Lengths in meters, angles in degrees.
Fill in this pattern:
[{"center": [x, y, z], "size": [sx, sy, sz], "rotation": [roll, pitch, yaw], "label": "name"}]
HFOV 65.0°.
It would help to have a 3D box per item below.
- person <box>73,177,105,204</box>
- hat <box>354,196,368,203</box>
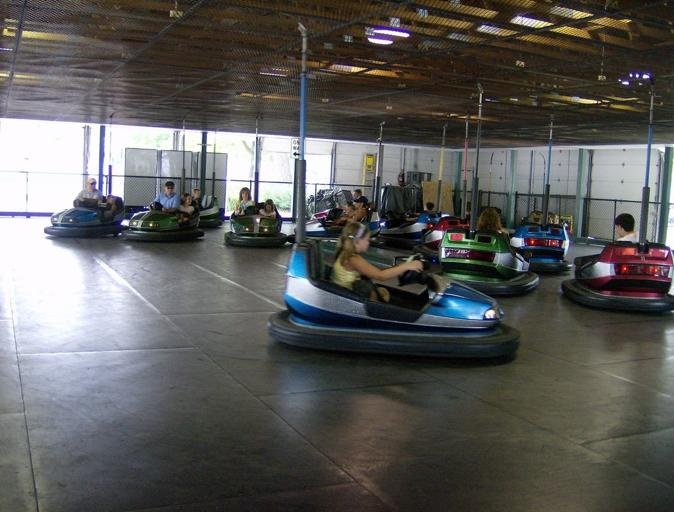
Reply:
[{"center": [-5.110, -1.291, 11.002], "size": [0.565, 0.552, 0.758], "rotation": [1, 9, -13], "label": "person"}, {"center": [0.477, -1.124, 10.836], "size": [0.467, 0.098, 0.398], "rotation": [0, 0, 3], "label": "hat"}]
